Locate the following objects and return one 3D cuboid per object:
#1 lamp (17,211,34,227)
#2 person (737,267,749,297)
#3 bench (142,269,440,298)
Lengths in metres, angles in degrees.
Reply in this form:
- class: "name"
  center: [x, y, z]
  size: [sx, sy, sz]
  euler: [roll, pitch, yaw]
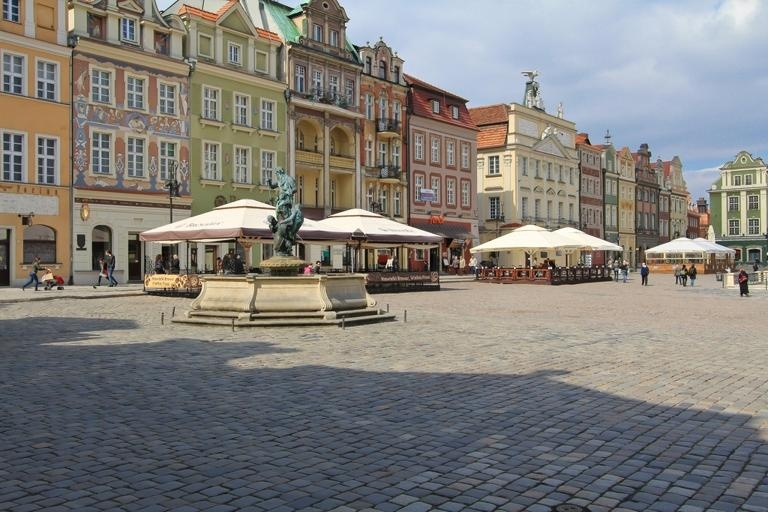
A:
- class: "lamp"
  center: [-16.580, -1.734, 34.239]
  size: [0.241, 0.635, 0.619]
  euler: [-2, -1, 31]
- class: "person"
  center: [15.184, 1.129, 31.028]
  size: [0.301, 1.149, 0.911]
  euler: [-2, -1, 23]
- class: "bench"
  center: [-3.225, 1.159, 32.000]
  size: [13.282, 0.828, 2.776]
  euler: [-1, 0, -33]
